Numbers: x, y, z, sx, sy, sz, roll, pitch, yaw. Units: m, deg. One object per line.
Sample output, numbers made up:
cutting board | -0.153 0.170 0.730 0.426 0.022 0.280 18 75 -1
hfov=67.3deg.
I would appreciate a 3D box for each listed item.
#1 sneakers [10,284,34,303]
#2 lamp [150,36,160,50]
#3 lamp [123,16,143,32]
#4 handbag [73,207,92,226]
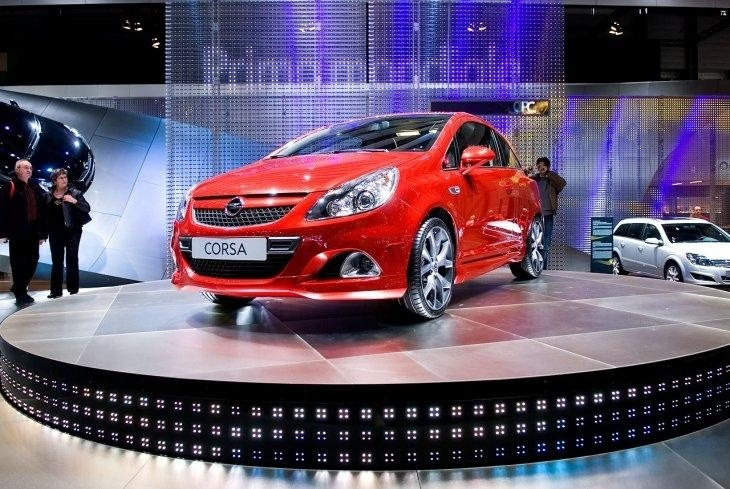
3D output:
sneakers | -4.906 0.697 7.750 0.474 0.203 0.163 3 6 27
lamp | -4.448 -4.275 11.617 0.162 0.199 0.214 4 3 8
lamp | -4.868 -4.611 11.453 0.372 0.212 0.258 7 8 27
handbag | -4.101 -0.434 7.900 0.115 0.338 0.254 5 12 27
